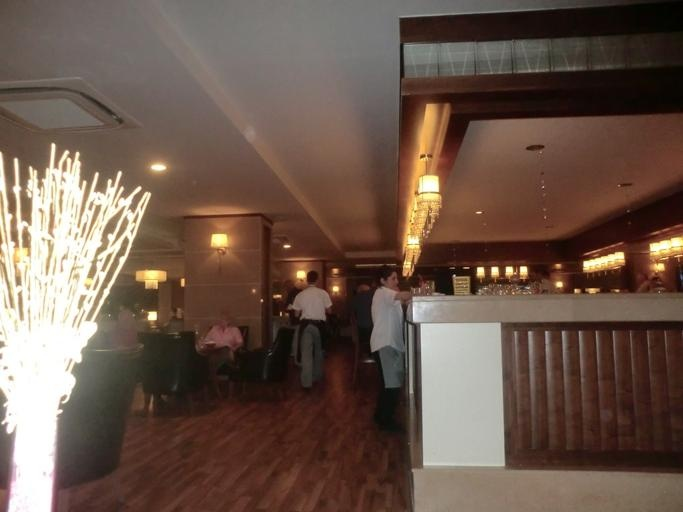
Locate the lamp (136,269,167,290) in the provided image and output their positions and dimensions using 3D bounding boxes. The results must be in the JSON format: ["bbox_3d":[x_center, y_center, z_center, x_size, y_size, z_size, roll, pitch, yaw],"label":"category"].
[{"bbox_3d":[-5.621,0.646,15.355,0.800,0.557,0.813,2,-4,-23],"label":"lamp"}]

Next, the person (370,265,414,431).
[{"bbox_3d":[0.505,0.946,5.384,0.388,1.681,0.796,-2,-6,3],"label":"person"}]

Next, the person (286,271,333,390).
[{"bbox_3d":[-0.455,1.099,7.914,0.442,1.730,0.669,-5,-7,35],"label":"person"}]

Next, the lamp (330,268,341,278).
[{"bbox_3d":[-0.209,0.631,19.730,0.317,0.242,0.309,-10,13,-43],"label":"lamp"}]

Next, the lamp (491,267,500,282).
[{"bbox_3d":[4.388,0.507,14.887,0.226,0.400,0.296,-3,-6,17],"label":"lamp"}]

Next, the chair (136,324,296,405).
[{"bbox_3d":[-1.662,1.434,6.843,1.786,0.945,1.154,1,-7,-23],"label":"chair"}]

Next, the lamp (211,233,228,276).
[{"bbox_3d":[-2.114,-0.050,9.069,0.273,0.694,0.190,-1,-6,-5],"label":"lamp"}]

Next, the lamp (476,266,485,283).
[{"bbox_3d":[3.978,0.516,14.919,0.250,0.420,0.410,-5,-7,27],"label":"lamp"}]

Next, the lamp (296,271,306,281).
[{"bbox_3d":[-1.309,0.639,17.130,0.282,0.413,0.310,-2,2,5],"label":"lamp"}]

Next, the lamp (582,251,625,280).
[{"bbox_3d":[5.880,0.148,11.721,0.387,0.436,1.762,-3,-7,9],"label":"lamp"}]

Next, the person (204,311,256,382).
[{"bbox_3d":[-1.634,1.371,7.203,0.484,0.753,0.617,6,6,36],"label":"person"}]
